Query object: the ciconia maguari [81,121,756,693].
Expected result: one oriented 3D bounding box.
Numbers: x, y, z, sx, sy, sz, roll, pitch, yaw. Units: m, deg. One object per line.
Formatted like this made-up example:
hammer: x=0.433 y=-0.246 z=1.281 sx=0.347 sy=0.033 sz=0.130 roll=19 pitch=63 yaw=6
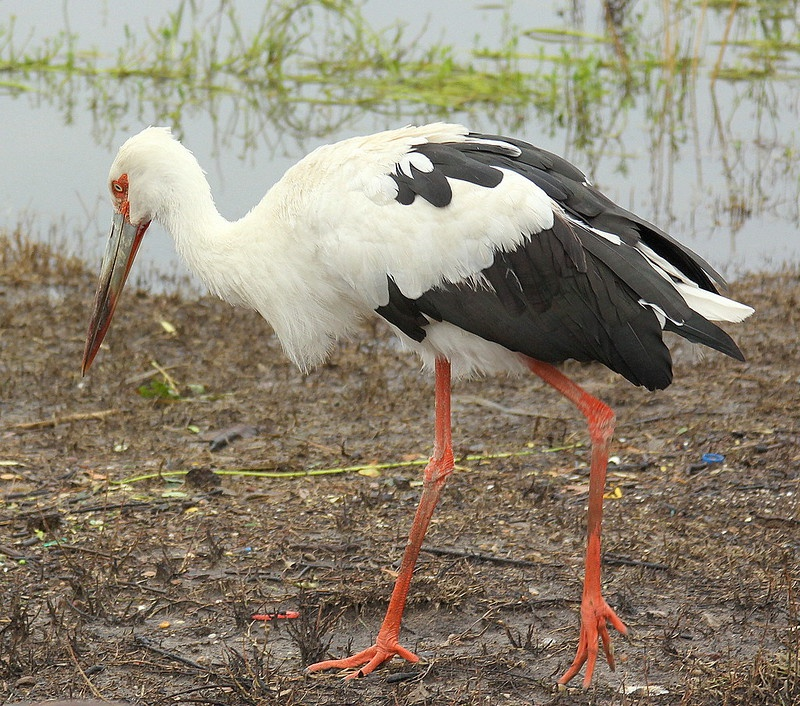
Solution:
ciconia maguari: x=-0.029 y=0.034 z=5.107 sx=3.197 sy=1.959 sz=0.819 roll=6 pitch=15 yaw=20
